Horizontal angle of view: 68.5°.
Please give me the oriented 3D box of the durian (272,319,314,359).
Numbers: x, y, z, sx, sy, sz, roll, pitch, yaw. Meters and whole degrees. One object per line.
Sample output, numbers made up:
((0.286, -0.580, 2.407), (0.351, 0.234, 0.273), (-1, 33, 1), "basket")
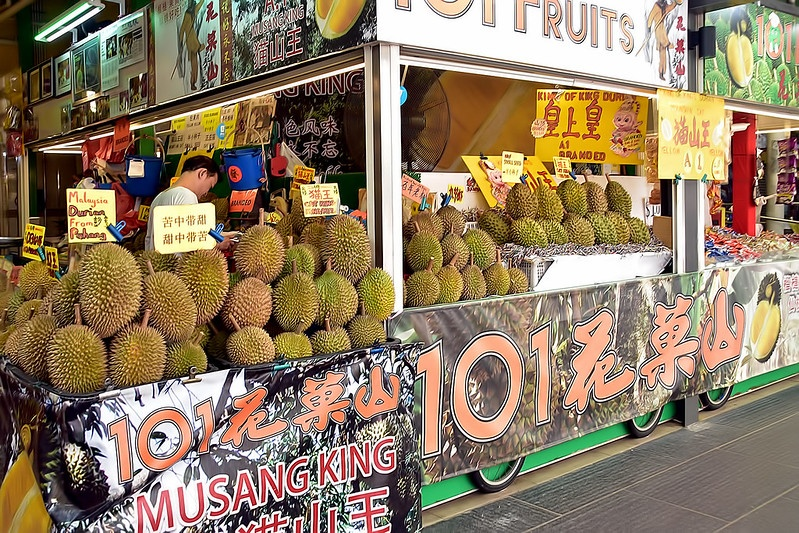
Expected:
((-0.505, 0.359, 2.782), (0.183, 0.157, 0.164), (-3, 9, -14), "durian")

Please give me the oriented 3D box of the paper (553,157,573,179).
((1.305, -0.802, 4.770), (0.163, 0.190, 0.045), (1, -1, -19), "paper")

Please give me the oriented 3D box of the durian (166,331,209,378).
((-0.920, 0.390, 2.590), (0.194, 0.158, 0.219), (6, 11, 38), "durian")

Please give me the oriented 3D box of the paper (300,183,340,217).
((-0.447, -0.367, 3.263), (0.175, 0.147, 0.024), (-7, 6, -35), "paper")

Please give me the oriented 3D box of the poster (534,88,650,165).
((1.706, -1.232, 5.134), (0.642, 0.498, 0.013), (7, 12, 28), "poster")

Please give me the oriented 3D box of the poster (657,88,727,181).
((2.241, -0.983, 4.485), (0.874, 0.645, 0.013), (-4, 3, -31), "poster")

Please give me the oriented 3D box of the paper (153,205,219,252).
((-0.978, -0.171, 2.641), (0.184, 0.153, 0.025), (-4, 4, -37), "paper")

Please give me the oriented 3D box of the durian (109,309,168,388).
((-1.121, 0.343, 2.507), (0.211, 0.308, 0.227), (2, 2, -44), "durian")

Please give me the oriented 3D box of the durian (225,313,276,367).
((-0.690, 0.345, 2.731), (0.162, 0.252, 0.158), (-44, -25, 26), "durian")

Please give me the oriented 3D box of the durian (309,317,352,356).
((-0.349, 0.345, 2.938), (0.164, 0.204, 0.155), (-11, -9, 3), "durian")

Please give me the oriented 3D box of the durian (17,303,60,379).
((-1.564, 0.344, 2.581), (0.162, 0.302, 0.146), (15, -25, -36), "durian")

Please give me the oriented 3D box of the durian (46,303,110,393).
((-1.305, 0.345, 2.465), (0.237, 0.378, 0.247), (-5, 1, 7), "durian")

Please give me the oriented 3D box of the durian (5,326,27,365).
((-1.719, 0.360, 2.621), (0.060, 0.158, 0.117), (14, 3, -5), "durian")
